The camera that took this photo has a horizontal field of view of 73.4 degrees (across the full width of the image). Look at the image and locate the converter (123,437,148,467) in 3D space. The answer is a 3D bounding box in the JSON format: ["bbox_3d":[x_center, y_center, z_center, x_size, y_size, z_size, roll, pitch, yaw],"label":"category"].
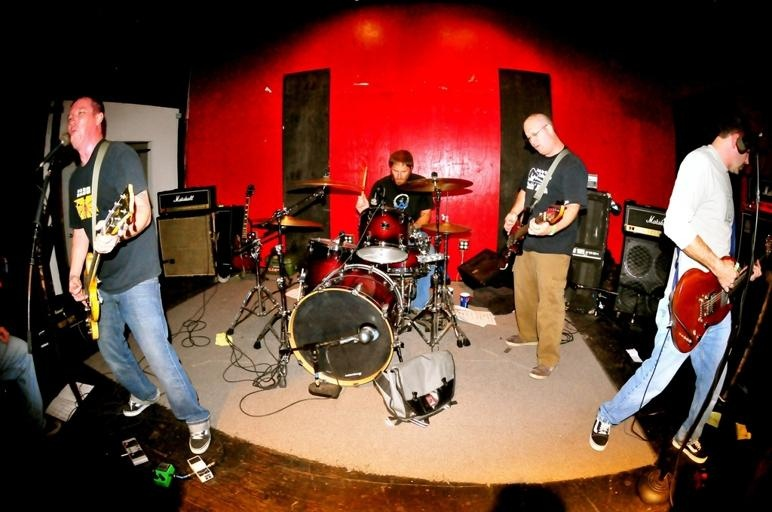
[{"bbox_3d":[-2.279,1.770,4.649,0.175,0.049,0.230,3,20,-26],"label":"converter"}]

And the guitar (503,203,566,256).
[{"bbox_3d":[1.554,-0.266,5.367,0.293,0.585,0.666,1,9,-19],"label":"guitar"}]

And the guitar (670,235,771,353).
[{"bbox_3d":[2.713,0.428,4.371,0.645,0.834,0.139,1,9,-16],"label":"guitar"}]

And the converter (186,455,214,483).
[{"bbox_3d":[-1.647,1.897,4.573,0.278,0.134,0.136,11,11,40],"label":"converter"}]

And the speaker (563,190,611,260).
[{"bbox_3d":[2.524,-0.383,6.608,0.633,0.841,0.595,1,5,-43],"label":"speaker"}]

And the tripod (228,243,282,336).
[{"bbox_3d":[-1.738,0.474,6.760,0.747,1.120,0.839,11,10,5],"label":"tripod"}]

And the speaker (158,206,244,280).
[{"bbox_3d":[-2.824,-0.176,7.594,1.054,1.041,0.736,-5,10,-27],"label":"speaker"}]

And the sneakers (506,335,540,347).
[{"bbox_3d":[1.609,0.966,5.986,0.343,0.145,0.131,4,3,15],"label":"sneakers"}]

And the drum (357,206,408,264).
[{"bbox_3d":[-0.064,-0.206,5.855,0.607,0.613,0.631,-6,25,-6],"label":"drum"}]

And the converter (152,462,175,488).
[{"bbox_3d":[-1.943,1.896,4.517,0.176,0.134,0.178,-6,8,6],"label":"converter"}]

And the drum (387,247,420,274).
[{"bbox_3d":[0.199,0.053,5.602,0.271,0.266,0.274,1,-1,-13],"label":"drum"}]

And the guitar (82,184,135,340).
[{"bbox_3d":[-2.418,0.019,4.479,0.206,1.606,0.559,-3,35,-33],"label":"guitar"}]

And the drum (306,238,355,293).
[{"bbox_3d":[-0.727,0.046,6.036,0.600,0.609,0.605,11,23,-6],"label":"drum"}]

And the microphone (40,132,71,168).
[{"bbox_3d":[-2.998,-0.944,4.634,0.234,0.311,0.468,-2,10,-33],"label":"microphone"}]

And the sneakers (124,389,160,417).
[{"bbox_3d":[-2.397,1.441,5.082,0.155,0.165,0.357,33,35,31],"label":"sneakers"}]
